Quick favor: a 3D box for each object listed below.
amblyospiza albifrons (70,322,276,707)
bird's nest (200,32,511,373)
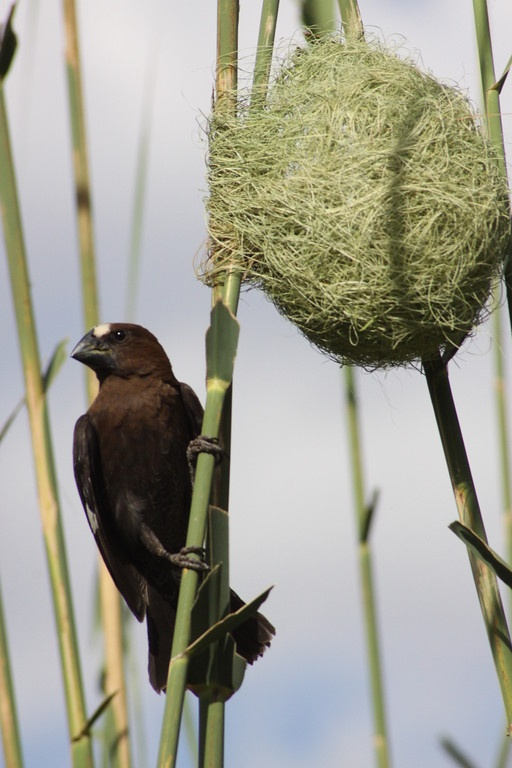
[{"bbox_3d":[-0.221,0.275,2.609,0.349,0.595,0.820,-17,-77,3],"label":"amblyospiza albifrons"},{"bbox_3d":[0.219,-0.427,2.657,0.680,0.714,0.427,6,-41,-4],"label":"bird's nest"}]
